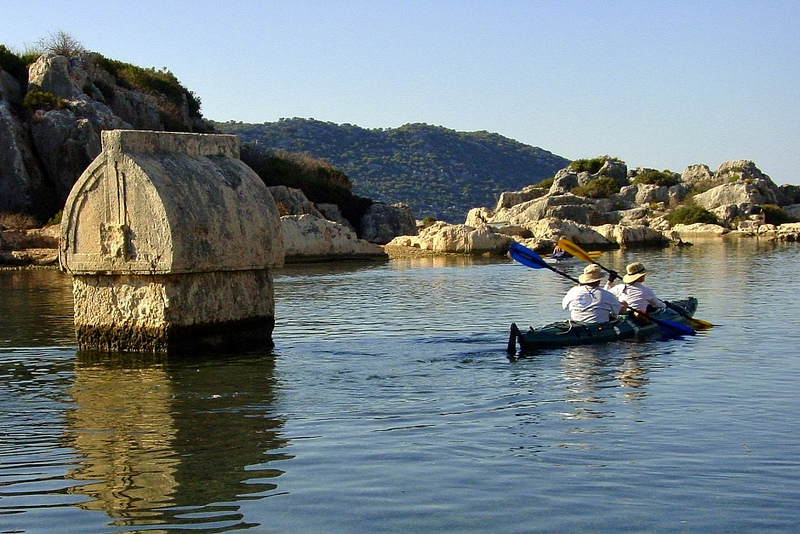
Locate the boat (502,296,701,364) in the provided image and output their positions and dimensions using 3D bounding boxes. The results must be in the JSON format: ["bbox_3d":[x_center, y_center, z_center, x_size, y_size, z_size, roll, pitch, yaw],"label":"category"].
[{"bbox_3d":[4.667,1.416,28.643,5.769,0.685,1.292,-6,11,-25],"label":"boat"}]

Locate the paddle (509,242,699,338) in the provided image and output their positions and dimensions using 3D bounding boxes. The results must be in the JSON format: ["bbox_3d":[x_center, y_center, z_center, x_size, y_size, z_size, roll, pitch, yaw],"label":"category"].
[{"bbox_3d":[5.480,0.615,35.148,6.790,0.631,0.796,21,-27,26],"label":"paddle"}]

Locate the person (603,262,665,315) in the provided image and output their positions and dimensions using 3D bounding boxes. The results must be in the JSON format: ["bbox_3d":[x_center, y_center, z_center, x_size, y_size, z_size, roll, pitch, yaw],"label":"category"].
[{"bbox_3d":[5.359,0.446,29.609,1.263,0.517,1.443,1,21,16],"label":"person"}]

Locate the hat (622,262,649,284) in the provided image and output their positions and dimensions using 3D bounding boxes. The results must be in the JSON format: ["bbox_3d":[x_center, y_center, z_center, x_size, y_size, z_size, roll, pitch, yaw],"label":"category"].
[{"bbox_3d":[5.368,0.133,29.571,0.591,0.273,0.585,-16,9,15],"label":"hat"}]
